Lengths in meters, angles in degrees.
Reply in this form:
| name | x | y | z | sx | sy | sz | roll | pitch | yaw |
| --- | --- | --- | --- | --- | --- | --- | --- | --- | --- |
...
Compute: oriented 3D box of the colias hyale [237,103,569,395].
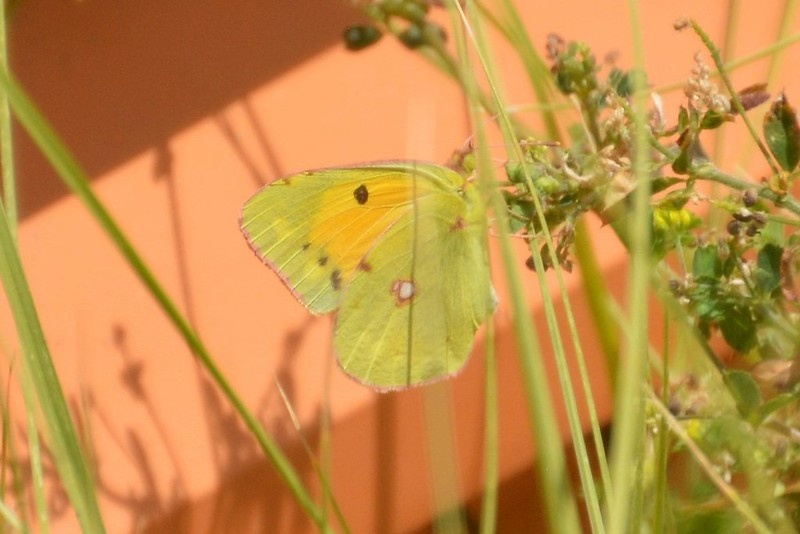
| name | x | y | z | sx | sy | sz | roll | pitch | yaw |
| --- | --- | --- | --- | --- | --- | --- | --- | --- | --- |
| colias hyale | 0.034 | -0.065 | 0.961 | 0.344 | 0.274 | 0.392 | 5 | 29 | 22 |
